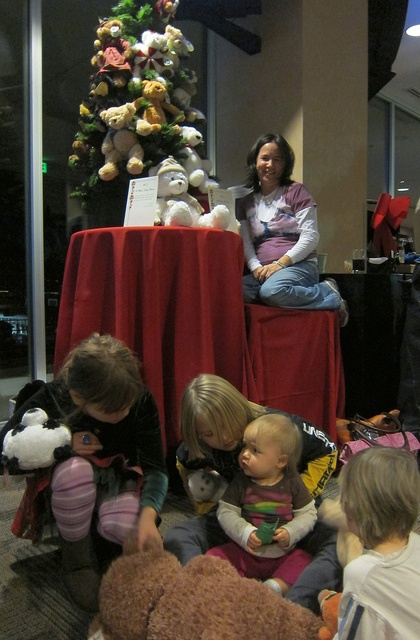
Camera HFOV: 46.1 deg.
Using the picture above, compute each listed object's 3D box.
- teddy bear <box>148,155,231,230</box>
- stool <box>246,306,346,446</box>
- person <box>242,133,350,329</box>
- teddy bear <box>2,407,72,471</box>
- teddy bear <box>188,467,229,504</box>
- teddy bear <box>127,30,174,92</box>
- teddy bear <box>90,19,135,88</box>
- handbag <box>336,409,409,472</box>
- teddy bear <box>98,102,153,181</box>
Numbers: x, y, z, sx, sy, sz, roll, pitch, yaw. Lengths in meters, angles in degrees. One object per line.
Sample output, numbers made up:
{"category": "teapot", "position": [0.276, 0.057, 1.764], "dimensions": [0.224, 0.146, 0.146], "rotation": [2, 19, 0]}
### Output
{"category": "teddy bear", "position": [-0.074, -0.455, 1.740], "dimensions": [0.265, 0.277, 0.256], "rotation": [-1, 6, -10]}
{"category": "stool", "position": [0.346, 0.214, 2.052], "dimensions": [0.445, 0.491, 0.386], "rotation": [4, 6, 0]}
{"category": "person", "position": [0.336, -0.430, 2.079], "dimensions": [0.435, 0.772, 0.517], "rotation": [0, 6, 2]}
{"category": "teddy bear", "position": [-0.332, 0.218, 0.988], "dimensions": [0.116, 0.109, 0.117], "rotation": [1, 9, 44]}
{"category": "teddy bear", "position": [-0.007, 0.404, 1.237], "dimensions": [0.095, 0.068, 0.092], "rotation": [32, -19, 0]}
{"category": "teddy bear", "position": [-0.235, -1.024, 1.932], "dimensions": [0.226, 0.211, 0.078], "rotation": [-6, 13, -34]}
{"category": "teddy bear", "position": [-0.392, -1.060, 1.940], "dimensions": [0.134, 0.329, 0.236], "rotation": [-2, 6, -24]}
{"category": "handbag", "position": [0.596, 0.432, 1.838], "dimensions": [0.160, 0.082, 0.218], "rotation": [-4, 0, 0]}
{"category": "teddy bear", "position": [-0.316, -0.672, 1.840], "dimensions": [0.215, 0.281, 0.137], "rotation": [1, 6, 5]}
